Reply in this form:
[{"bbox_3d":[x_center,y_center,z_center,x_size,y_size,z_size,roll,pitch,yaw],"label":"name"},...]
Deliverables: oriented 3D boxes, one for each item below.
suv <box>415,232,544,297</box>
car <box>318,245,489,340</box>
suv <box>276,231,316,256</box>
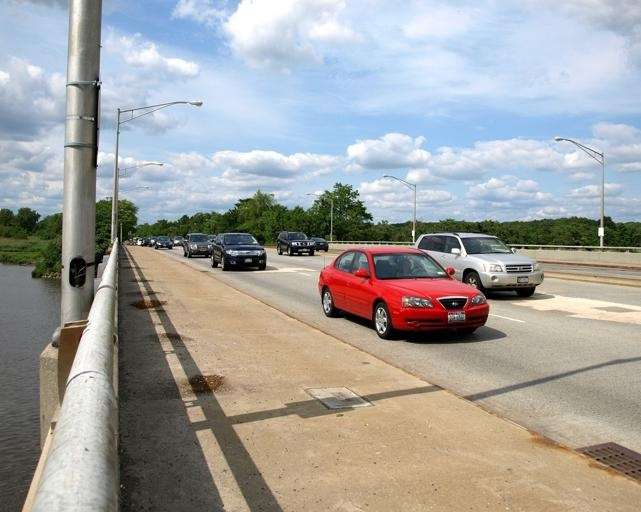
[{"bbox_3d":[4.979,0.195,15.604,1.988,1.500,3.669,5,0,-27],"label":"suv"},{"bbox_3d":[1.510,0.698,10.360,1.986,1.759,4.094,0,3,-29],"label":"car"},{"bbox_3d":[-2.289,-1.090,41.611,2.433,2.027,3.322,1,3,-22],"label":"suv"}]
